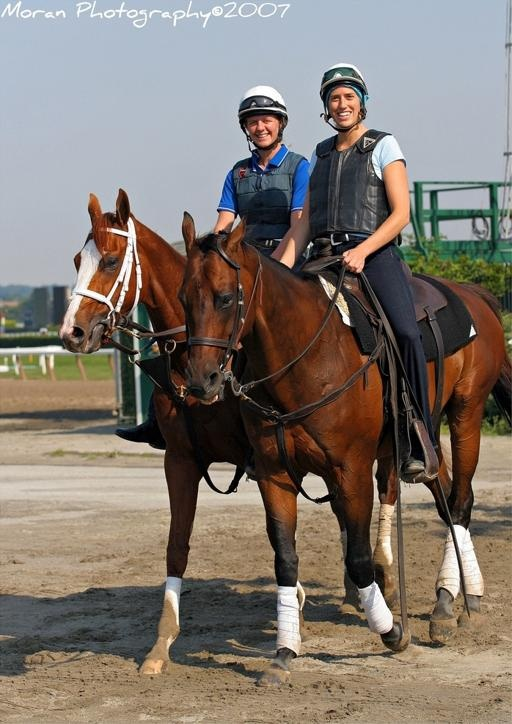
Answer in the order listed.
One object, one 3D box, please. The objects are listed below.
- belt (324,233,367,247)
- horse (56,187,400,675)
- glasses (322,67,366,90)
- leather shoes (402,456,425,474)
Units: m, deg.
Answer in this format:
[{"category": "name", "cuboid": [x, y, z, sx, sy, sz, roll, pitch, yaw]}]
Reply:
[{"category": "belt", "cuboid": [0.462, -0.622, 5.328, 0.131, 0.036, 0.133, 1, -9, 0]}, {"category": "horse", "cuboid": [-0.102, 0.433, 5.960, 0.801, 2.243, 3.030, 9, 3, 12]}, {"category": "glasses", "cuboid": [0.431, -1.446, 5.274, 0.208, 0.104, 0.127, -2, 6, 5]}, {"category": "leather shoes", "cuboid": [0.822, 0.545, 5.466, 0.110, 0.048, 0.144, 4, -4, 9]}]
